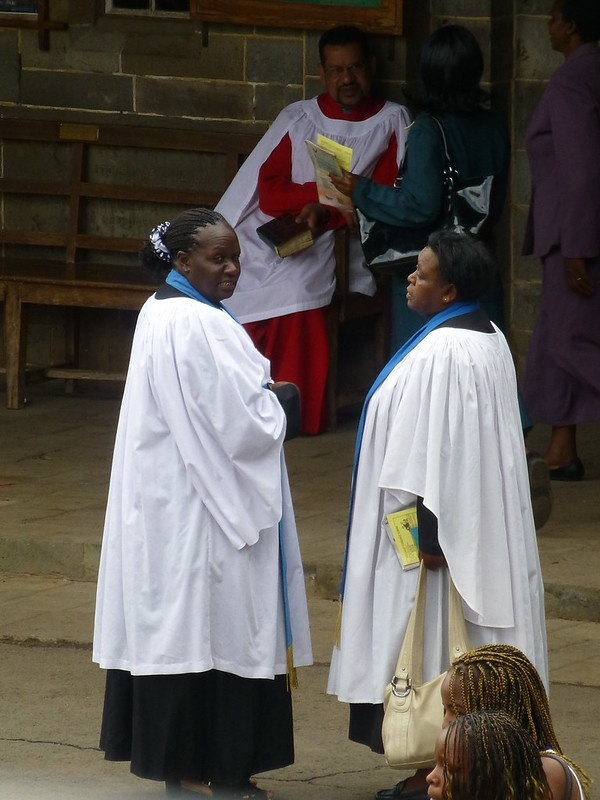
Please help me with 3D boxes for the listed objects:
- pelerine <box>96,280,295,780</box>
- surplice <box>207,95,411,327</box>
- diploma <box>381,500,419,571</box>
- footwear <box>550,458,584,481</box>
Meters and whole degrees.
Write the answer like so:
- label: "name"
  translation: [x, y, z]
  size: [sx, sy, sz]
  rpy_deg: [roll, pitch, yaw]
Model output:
- label: "pelerine"
  translation: [-0.141, 0.404, 4.846]
  size: [0.746, 1.316, 0.768]
  rpy_deg: [-9, 24, -19]
- label: "surplice"
  translation: [0.038, -0.915, 8.717]
  size: [1.108, 1.180, 0.727]
  rpy_deg: [9, 26, 24]
- label: "diploma"
  translation: [0.300, 0.389, 4.685]
  size: [0.136, 0.153, 0.151]
  rpy_deg: [5, 22, 6]
- label: "footwear"
  translation: [1.230, 0.321, 7.422]
  size: [0.092, 0.088, 0.238]
  rpy_deg: [-2, 2, -25]
